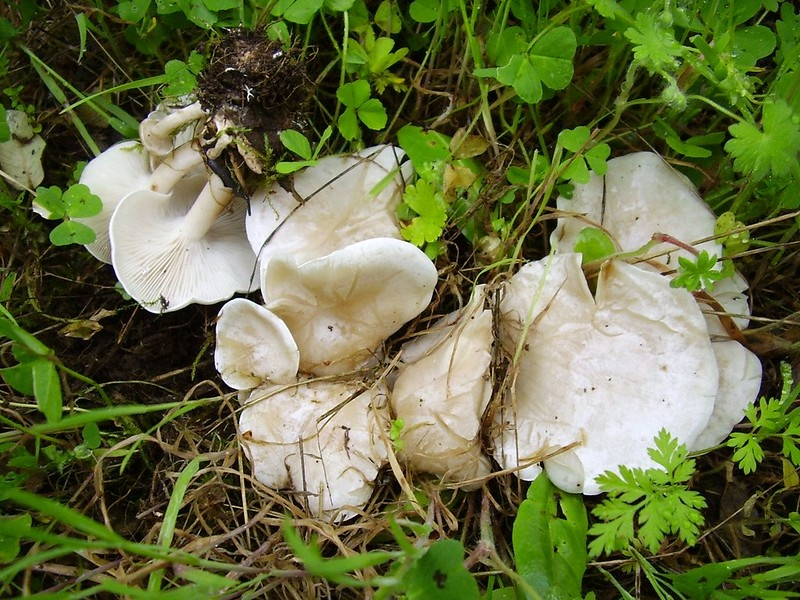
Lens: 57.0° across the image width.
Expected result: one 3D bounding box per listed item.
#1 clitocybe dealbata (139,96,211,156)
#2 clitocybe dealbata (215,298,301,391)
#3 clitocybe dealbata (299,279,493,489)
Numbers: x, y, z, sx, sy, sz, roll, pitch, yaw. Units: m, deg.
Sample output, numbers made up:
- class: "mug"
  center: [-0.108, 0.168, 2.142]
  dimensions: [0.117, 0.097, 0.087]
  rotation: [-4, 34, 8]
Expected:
- class: "clitocybe dealbata"
  center: [-0.885, -0.686, 2.931]
  dimensions: [0.152, 0.309, 0.167]
  rotation: [-30, 104, -37]
- class: "clitocybe dealbata"
  center: [-0.576, 0.208, 2.941]
  dimensions: [0.332, 0.088, 0.380]
  rotation: [-9, 62, -25]
- class: "clitocybe dealbata"
  center: [0.157, 0.353, 2.953]
  dimensions: [0.406, 0.270, 0.747]
  rotation: [1, 84, 0]
